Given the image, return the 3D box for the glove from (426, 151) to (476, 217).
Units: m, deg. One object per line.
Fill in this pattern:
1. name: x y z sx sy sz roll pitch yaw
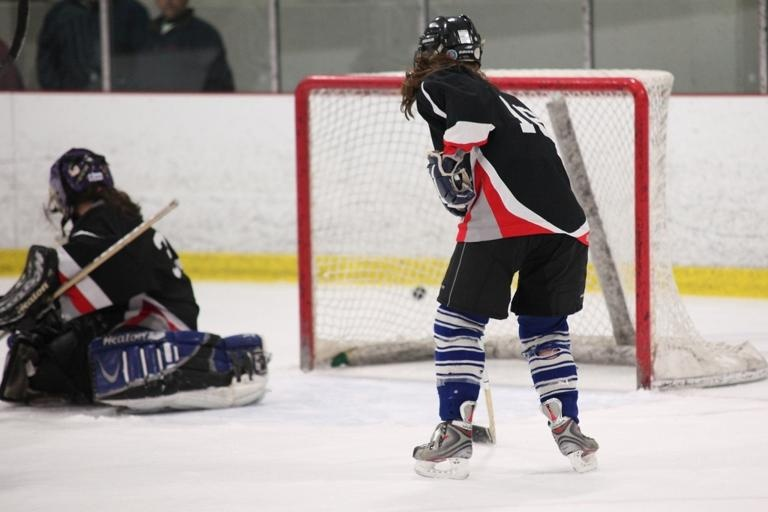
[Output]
1. glove: 0.281 -0.286 4.080 0.155 0.259 0.202 2 3 38

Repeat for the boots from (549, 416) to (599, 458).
1. boots: 0.772 0.726 4.211 0.100 0.172 0.269 -25 -8 20

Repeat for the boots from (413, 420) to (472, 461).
1. boots: 0.240 0.755 4.135 0.323 0.176 0.109 -11 -20 40

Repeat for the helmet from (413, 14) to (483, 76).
1. helmet: 0.246 -0.889 4.263 0.217 0.237 0.250 -1 24 -14

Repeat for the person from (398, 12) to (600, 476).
1. person: 0.472 -0.054 4.154 0.785 1.870 0.281 0 3 -5
